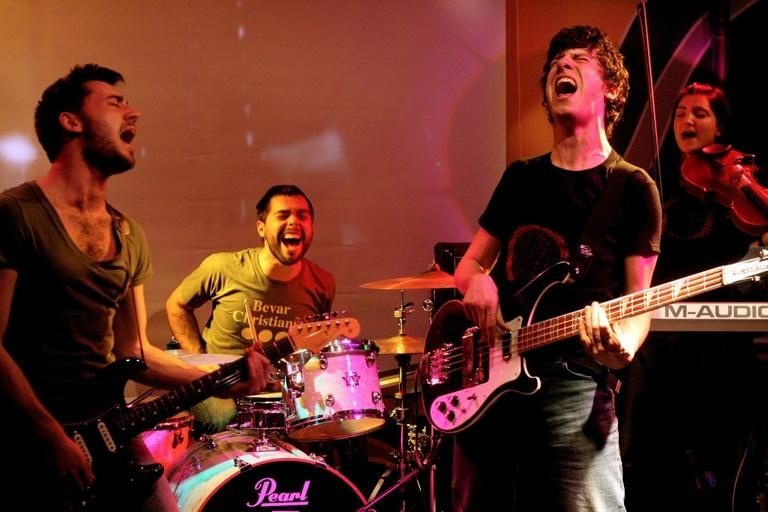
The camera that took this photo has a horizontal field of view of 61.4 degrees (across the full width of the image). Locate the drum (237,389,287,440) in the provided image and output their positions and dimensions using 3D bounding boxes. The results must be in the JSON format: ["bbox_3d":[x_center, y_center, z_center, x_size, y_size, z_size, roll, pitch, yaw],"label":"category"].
[{"bbox_3d":[-0.760,0.980,3.988,0.402,0.150,0.465,6,-6,-13],"label":"drum"}]

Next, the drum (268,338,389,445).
[{"bbox_3d":[-0.264,0.993,4.181,0.774,0.567,0.766,-7,-40,-6],"label":"drum"}]

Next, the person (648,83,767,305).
[{"bbox_3d":[2.098,-0.352,4.304,0.708,1.648,0.289,-6,-30,15],"label":"person"}]
